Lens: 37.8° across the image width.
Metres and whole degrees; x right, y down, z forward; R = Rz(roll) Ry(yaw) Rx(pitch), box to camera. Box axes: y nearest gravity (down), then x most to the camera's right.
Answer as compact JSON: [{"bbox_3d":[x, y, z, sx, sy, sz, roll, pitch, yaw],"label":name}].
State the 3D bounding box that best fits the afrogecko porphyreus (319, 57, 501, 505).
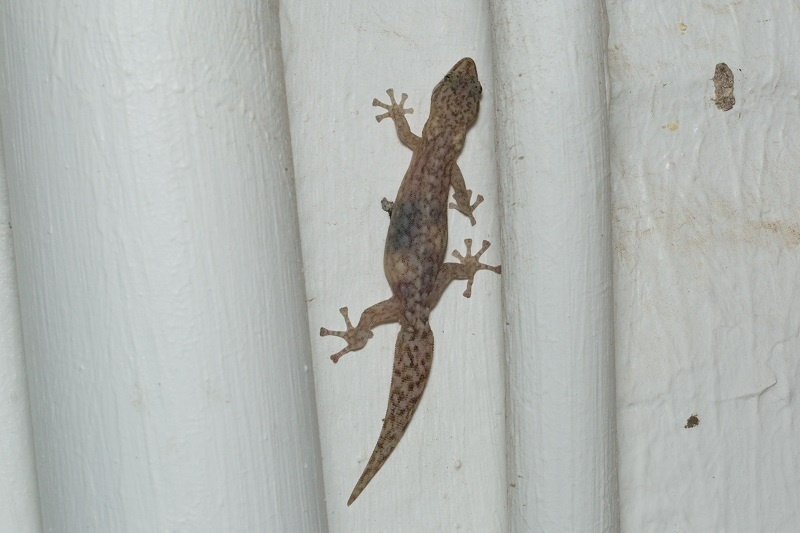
[{"bbox_3d":[0.062,0.004,3.891,0.468,1.395,0.160,11,-3,18],"label":"afrogecko porphyreus"}]
